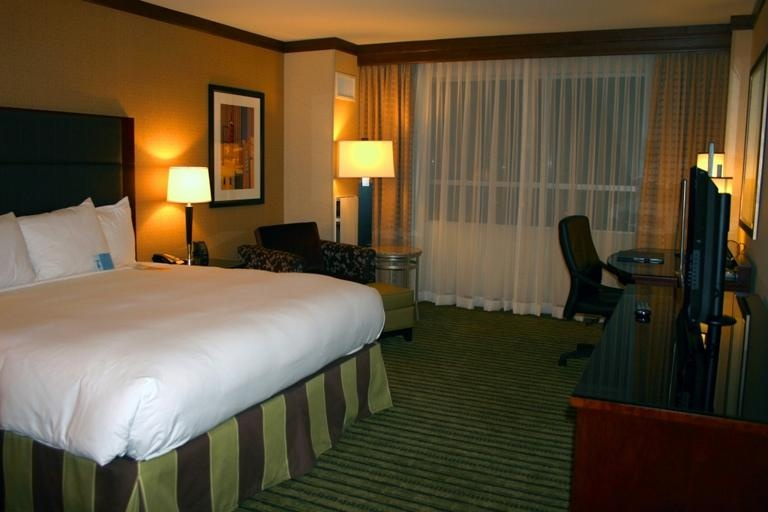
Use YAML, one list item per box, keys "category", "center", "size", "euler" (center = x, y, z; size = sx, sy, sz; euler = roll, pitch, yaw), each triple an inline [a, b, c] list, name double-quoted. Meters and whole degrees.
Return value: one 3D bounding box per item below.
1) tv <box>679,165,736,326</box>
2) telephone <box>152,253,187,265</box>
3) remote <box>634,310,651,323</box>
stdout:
- category: "tv"
  center: [2.097, -0.105, 3.763]
  size: [0.237, 0.942, 0.909]
  euler: [2, 5, 21]
- category: "telephone"
  center: [-2.150, 0.036, 5.692]
  size: [0.253, 0.083, 0.193]
  euler: [3, 4, 18]
- category: "remote"
  center: [1.545, 0.359, 3.407]
  size: [0.076, 0.058, 0.080]
  euler: [0, 3, 23]
